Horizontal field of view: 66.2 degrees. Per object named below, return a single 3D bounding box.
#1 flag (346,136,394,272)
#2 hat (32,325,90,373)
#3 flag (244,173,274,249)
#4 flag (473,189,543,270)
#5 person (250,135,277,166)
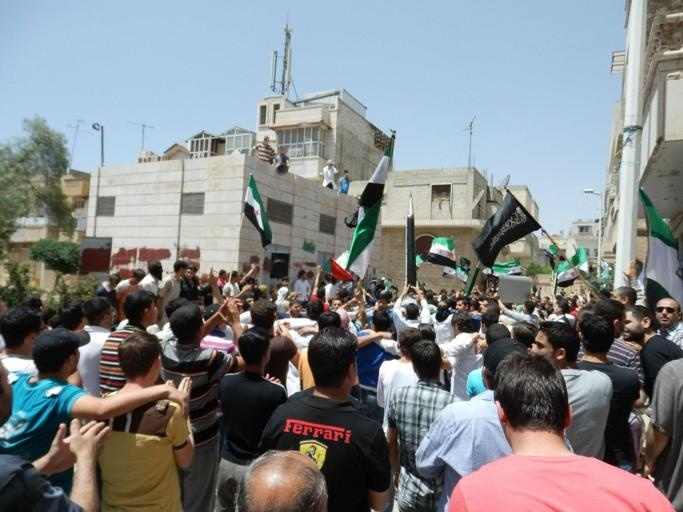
[{"bbox_3d":[0.554,-1.022,9.922,0.567,3.528,0.483,-10,46,-23],"label":"flag"},{"bbox_3d":[-2.287,0.693,4.295,0.260,0.228,0.391,17,41,28],"label":"hat"},{"bbox_3d":[-1.855,-1.058,11.614,0.562,1.590,1.479,2,-1,-10],"label":"flag"},{"bbox_3d":[2.808,-0.479,9.149,0.921,1.075,1.133,2,-1,14],"label":"flag"},{"bbox_3d":[-2.837,-3.919,19.339,0.752,1.050,1.409,2,-1,-6],"label":"person"}]
